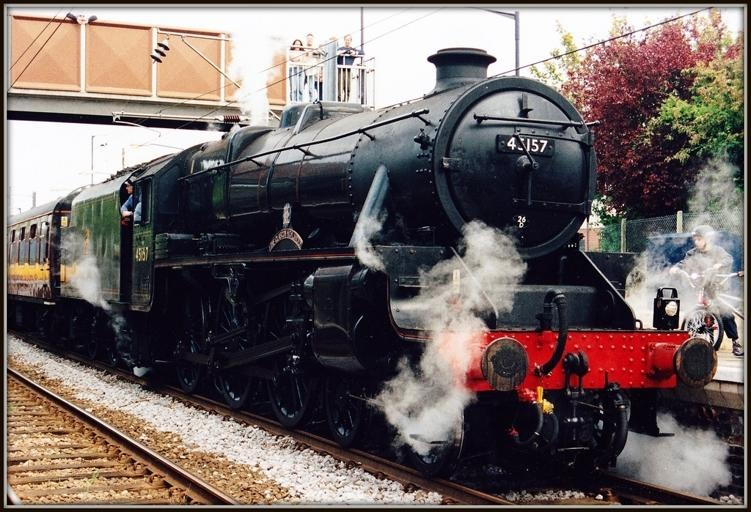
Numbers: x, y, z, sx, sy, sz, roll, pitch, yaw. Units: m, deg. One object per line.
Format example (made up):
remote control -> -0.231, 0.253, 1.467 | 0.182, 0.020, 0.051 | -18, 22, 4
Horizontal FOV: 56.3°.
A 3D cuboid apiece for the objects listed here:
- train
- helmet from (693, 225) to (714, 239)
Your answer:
train -> -3.135, 0.154, 15.196 | 4.509, 5.081, 18.533 | 2, -1, -28
helmet -> 5.558, -0.408, 11.925 | 0.232, 0.259, 0.321 | 2, 12, 26
